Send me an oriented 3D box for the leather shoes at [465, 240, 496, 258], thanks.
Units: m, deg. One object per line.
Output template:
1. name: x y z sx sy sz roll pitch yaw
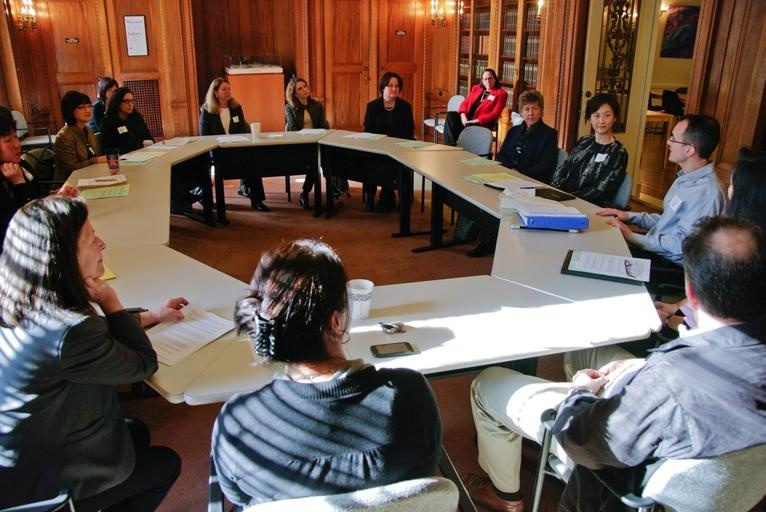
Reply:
1. leather shoes: 0.884 -0.077 5.013 0.336 0.227 0.114 2 17 5

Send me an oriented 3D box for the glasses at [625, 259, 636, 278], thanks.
1. glasses: 1.349 0.071 2.909 0.053 0.031 0.082 0 47 -6

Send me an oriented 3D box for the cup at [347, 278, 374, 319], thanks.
1. cup: -0.107 0.203 2.547 0.105 0.177 0.290 0 22 -2

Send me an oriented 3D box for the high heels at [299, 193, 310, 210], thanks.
1. high heels: -0.933 -0.659 6.307 0.084 0.165 0.237 1 23 -3

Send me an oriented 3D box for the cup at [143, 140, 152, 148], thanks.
1. cup: -2.430 -1.169 5.481 0.084 0.053 0.085 2 21 -1

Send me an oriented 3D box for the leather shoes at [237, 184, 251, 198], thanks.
1. leather shoes: -1.695 -0.798 6.485 0.178 0.087 0.244 6 17 -17
